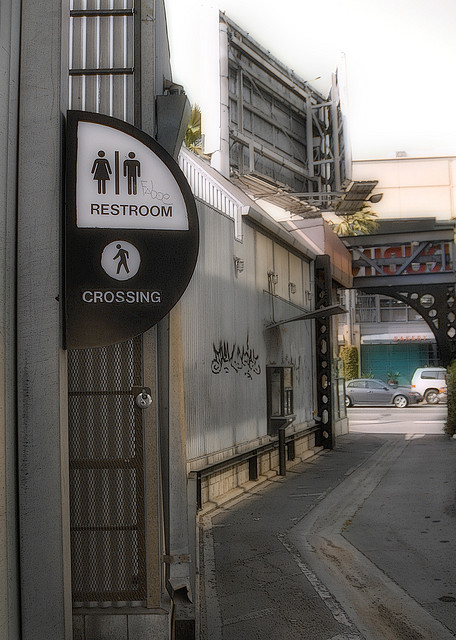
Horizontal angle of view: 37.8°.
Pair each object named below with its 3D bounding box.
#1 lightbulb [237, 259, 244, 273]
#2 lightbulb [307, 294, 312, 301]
[{"bbox_3d":[0.180,-0.879,10.540,0.038,0.188,0.125,-1,2,16],"label":"lightbulb"},{"bbox_3d":[1.964,-0.580,16.200,0.093,0.115,0.206,-6,39,9],"label":"lightbulb"}]
